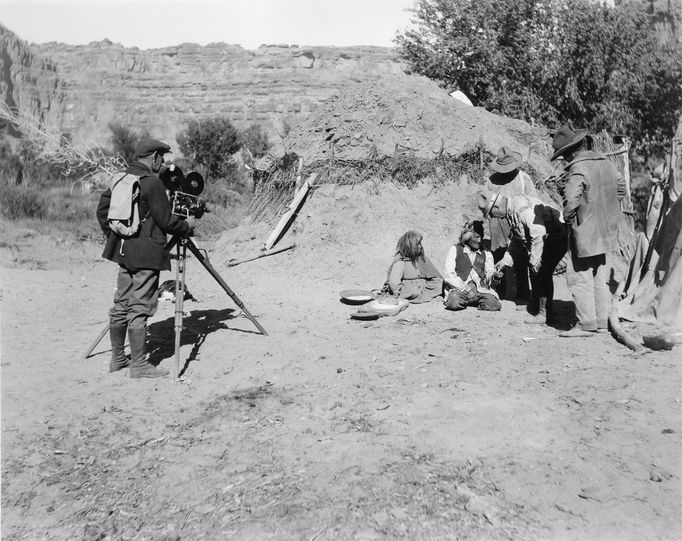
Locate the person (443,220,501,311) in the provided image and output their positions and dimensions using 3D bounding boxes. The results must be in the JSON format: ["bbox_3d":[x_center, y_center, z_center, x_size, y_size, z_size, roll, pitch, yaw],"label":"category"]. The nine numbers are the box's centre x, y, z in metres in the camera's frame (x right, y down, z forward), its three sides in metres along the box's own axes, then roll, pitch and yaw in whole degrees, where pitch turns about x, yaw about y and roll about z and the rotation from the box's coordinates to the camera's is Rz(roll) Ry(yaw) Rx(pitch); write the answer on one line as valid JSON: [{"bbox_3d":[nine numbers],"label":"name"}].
[{"bbox_3d":[1.743,-0.087,7.691,0.735,1.260,0.927,1,0,30],"label":"person"}]

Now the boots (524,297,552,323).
[{"bbox_3d":[2.304,0.473,6.982,0.352,0.393,0.198,6,5,17],"label":"boots"}]

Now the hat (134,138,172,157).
[{"bbox_3d":[-1.825,-1.205,5.739,0.270,0.117,0.204,-18,19,-39],"label":"hat"}]

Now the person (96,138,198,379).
[{"bbox_3d":[-1.918,-0.113,5.733,0.770,2.292,0.501,-4,11,-21],"label":"person"}]

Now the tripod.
[{"bbox_3d":[-1.433,0.202,6.235,1.473,1.463,1.463,-8,-1,-40],"label":"tripod"}]

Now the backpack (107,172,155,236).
[{"bbox_3d":[-2.068,-0.642,5.642,0.348,0.608,0.336,12,7,26],"label":"backpack"}]

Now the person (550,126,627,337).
[{"bbox_3d":[2.585,-0.402,6.240,0.704,2.169,0.557,3,11,12],"label":"person"}]

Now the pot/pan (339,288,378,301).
[{"bbox_3d":[0.248,0.350,7.920,0.498,0.145,0.312,0,11,-6],"label":"pot/pan"}]

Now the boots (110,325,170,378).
[{"bbox_3d":[-2.004,0.639,5.845,0.428,0.602,0.729,-5,8,-44],"label":"boots"}]

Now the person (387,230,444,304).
[{"bbox_3d":[1.000,-0.075,8.016,0.844,0.869,0.662,-16,23,-31],"label":"person"}]
